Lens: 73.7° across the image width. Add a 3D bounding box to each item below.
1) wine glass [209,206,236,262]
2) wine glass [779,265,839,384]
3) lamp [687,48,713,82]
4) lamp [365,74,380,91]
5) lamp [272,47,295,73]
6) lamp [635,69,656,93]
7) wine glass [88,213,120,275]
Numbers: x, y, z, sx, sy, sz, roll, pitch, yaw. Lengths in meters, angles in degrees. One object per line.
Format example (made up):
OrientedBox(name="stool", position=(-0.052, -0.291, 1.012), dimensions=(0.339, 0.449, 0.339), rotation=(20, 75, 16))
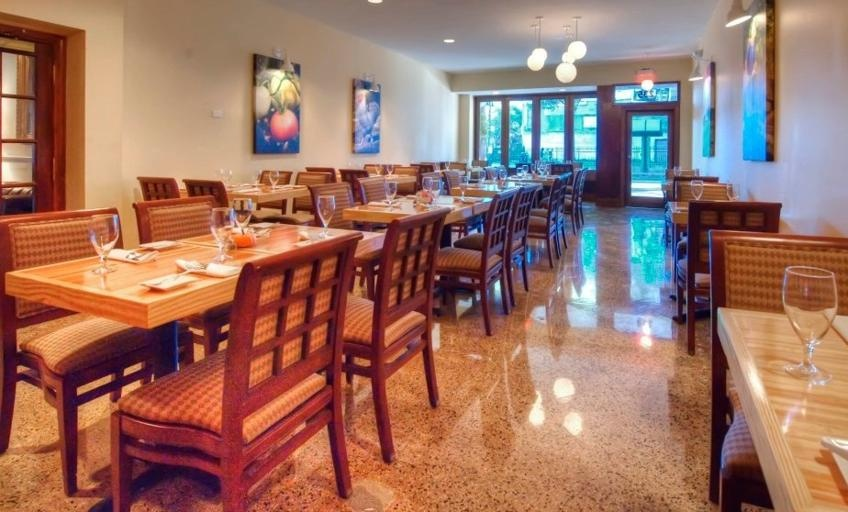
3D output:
OrientedBox(name="wine glass", position=(-1.170, -0.148, 3.324), dimensions=(0.125, 0.287, 0.331), rotation=(-5, 16, -20))
OrientedBox(name="wine glass", position=(1.643, 0.296, 2.465), dimensions=(0.197, 0.436, 0.240), rotation=(7, 16, 23))
OrientedBox(name="lamp", position=(4.512, -3.203, 9.318), dimensions=(0.297, 0.534, 1.674), rotation=(7, 17, 23))
OrientedBox(name="lamp", position=(-0.953, -3.272, 10.539), dimensions=(0.086, 0.251, 0.444), rotation=(7, 2, 13))
OrientedBox(name="lamp", position=(-2.084, -2.930, 8.398), dimensions=(0.220, 0.389, 0.365), rotation=(-22, 21, -13))
OrientedBox(name="lamp", position=(4.321, -3.547, 11.209), dimensions=(0.307, 0.356, 0.539), rotation=(2, 15, 6))
OrientedBox(name="wine glass", position=(-1.726, -0.090, 3.105), dimensions=(0.146, 0.303, 0.333), rotation=(-8, 17, -30))
